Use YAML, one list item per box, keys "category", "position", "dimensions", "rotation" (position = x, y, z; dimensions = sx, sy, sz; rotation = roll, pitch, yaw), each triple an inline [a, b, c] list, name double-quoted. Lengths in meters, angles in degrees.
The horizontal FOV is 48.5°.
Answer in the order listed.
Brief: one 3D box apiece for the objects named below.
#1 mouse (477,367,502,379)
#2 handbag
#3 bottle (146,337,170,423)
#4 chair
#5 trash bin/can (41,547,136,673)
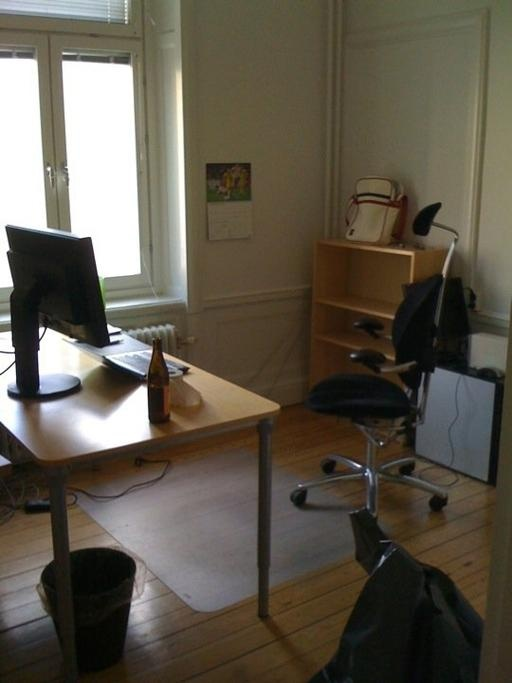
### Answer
- category: "mouse"
  position: [1.162, 0.156, 2.810]
  dimensions: [0.071, 0.021, 0.064]
  rotation: [-5, 11, -32]
- category: "handbag"
  position: [0.720, -0.777, 3.419]
  dimensions: [0.210, 0.385, 0.385]
  rotation: [-6, 19, -45]
- category: "bottle"
  position: [-0.284, 0.099, 1.630]
  dimensions: [0.063, 0.247, 0.152]
  rotation: [-3, 12, -11]
- category: "chair"
  position: [0.509, 0.089, 2.577]
  dimensions: [0.613, 1.334, 0.574]
  rotation: [-4, 11, -23]
- category: "trash bin/can"
  position: [-0.481, 0.794, 1.670]
  dimensions: [0.264, 0.301, 0.234]
  rotation: [-5, 13, -23]
